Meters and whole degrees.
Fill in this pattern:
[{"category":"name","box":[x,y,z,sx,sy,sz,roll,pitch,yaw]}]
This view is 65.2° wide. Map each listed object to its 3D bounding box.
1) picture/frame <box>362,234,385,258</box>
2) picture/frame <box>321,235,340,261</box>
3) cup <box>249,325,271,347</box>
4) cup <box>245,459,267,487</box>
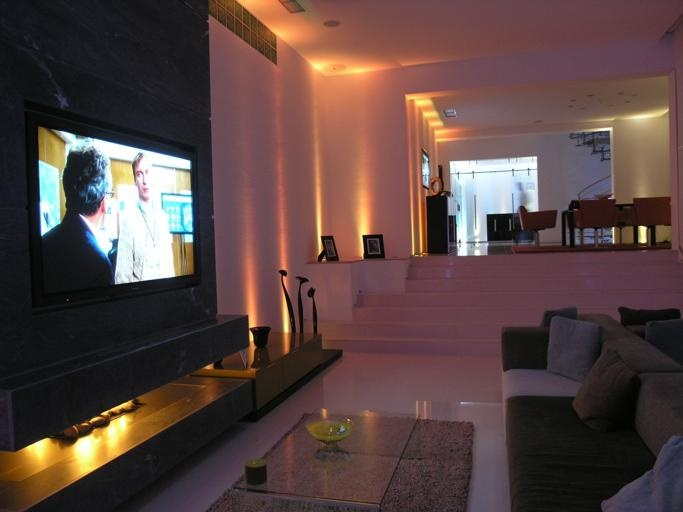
[{"category":"picture/frame","box":[0.499,-0.154,8.359,0.328,0.457,0.030,-1,-9,-3]},{"category":"picture/frame","box":[-0.178,-0.120,7.989,0.037,0.319,0.368,-8,1,19]},{"category":"cup","box":[-0.806,0.796,5.321,0.191,0.164,0.196,0,6,0]},{"category":"cup","box":[-0.466,1.172,2.894,0.103,0.092,0.109,1,4,0]}]
